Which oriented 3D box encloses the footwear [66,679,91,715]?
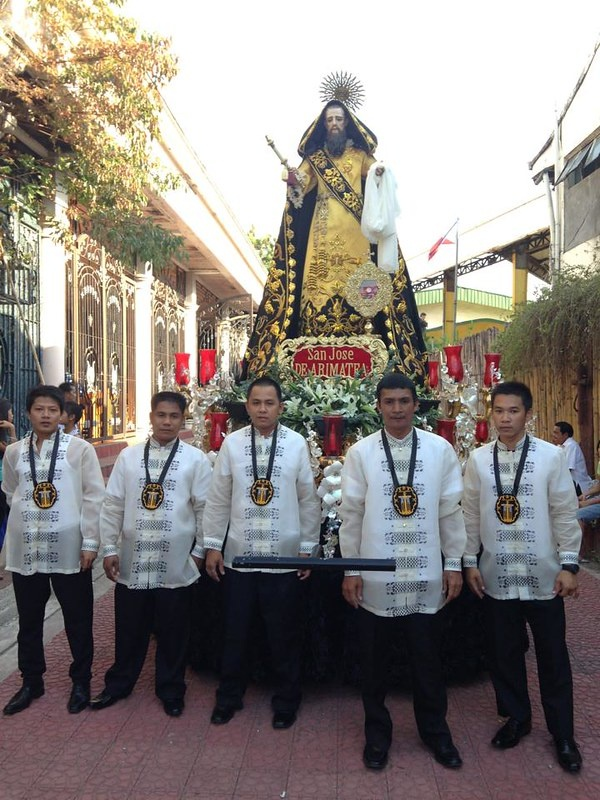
[{"bbox_3d":[-1.035,1.387,3.286,0.060,0.063,0.161,1,-8,-6],"label":"footwear"}]

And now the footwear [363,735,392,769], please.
[{"bbox_3d":[0.306,1.395,2.829,0.106,0.093,0.167,0,0,6],"label":"footwear"}]

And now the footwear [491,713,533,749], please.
[{"bbox_3d":[0.909,1.402,3.000,0.081,0.100,0.243,-9,-16,36],"label":"footwear"}]

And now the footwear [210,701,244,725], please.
[{"bbox_3d":[-0.338,1.416,3.240,0.079,0.066,0.215,0,0,21],"label":"footwear"}]

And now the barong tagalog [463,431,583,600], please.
[{"bbox_3d":[0.981,0.486,3.148,0.426,0.767,0.429,5,11,24],"label":"barong tagalog"}]

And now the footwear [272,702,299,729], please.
[{"bbox_3d":[-0.069,1.413,3.191,0.103,0.071,0.184,0,0,4],"label":"footwear"}]

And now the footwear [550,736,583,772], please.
[{"bbox_3d":[1.066,1.398,2.801,0.053,0.053,0.139,-3,-4,5],"label":"footwear"}]

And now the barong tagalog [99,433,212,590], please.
[{"bbox_3d":[-0.719,0.583,3.394,0.347,0.902,0.343,0,1,-1],"label":"barong tagalog"}]

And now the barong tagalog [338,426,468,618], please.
[{"bbox_3d":[0.443,0.532,2.959,0.490,0.971,0.340,0,0,1],"label":"barong tagalog"}]

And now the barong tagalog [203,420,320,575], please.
[{"bbox_3d":[-0.188,0.481,3.351,0.442,0.700,0.436,4,8,0],"label":"barong tagalog"}]

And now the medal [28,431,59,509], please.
[{"bbox_3d":[-1.235,0.350,3.420,0.117,0.312,0.135,-4,15,-28],"label":"medal"}]

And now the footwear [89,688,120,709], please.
[{"bbox_3d":[-0.923,1.411,3.325,0.046,0.054,0.138,8,9,17],"label":"footwear"}]

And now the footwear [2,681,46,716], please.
[{"bbox_3d":[-1.299,1.393,3.313,0.062,0.081,0.192,-2,-6,12],"label":"footwear"}]
